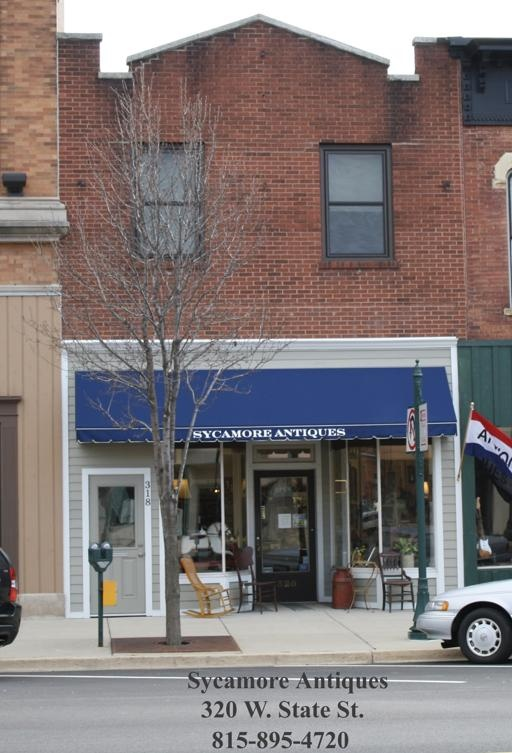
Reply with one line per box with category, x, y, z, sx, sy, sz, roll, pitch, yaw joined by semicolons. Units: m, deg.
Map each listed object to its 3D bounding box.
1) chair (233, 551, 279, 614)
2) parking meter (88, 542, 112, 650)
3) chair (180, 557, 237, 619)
chair;-0.014;2.916;21.501;0.522;0.981;0.547;0;-5;-39
parking meter;-1.878;2.665;18.056;0.293;1.226;0.286;4;-8;-42
chair;-0.675;2.947;20.933;0.630;0.872;0.561;-6;-3;-9
